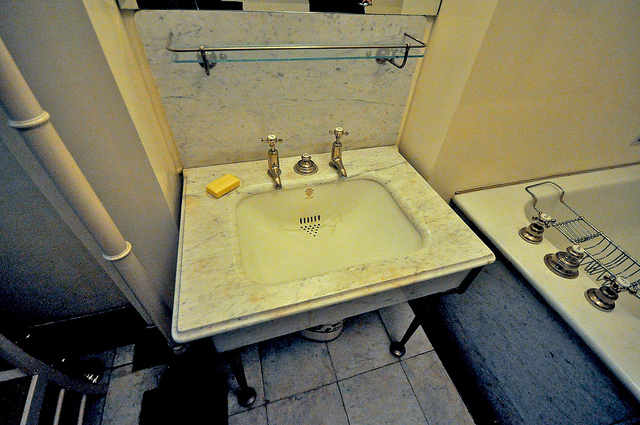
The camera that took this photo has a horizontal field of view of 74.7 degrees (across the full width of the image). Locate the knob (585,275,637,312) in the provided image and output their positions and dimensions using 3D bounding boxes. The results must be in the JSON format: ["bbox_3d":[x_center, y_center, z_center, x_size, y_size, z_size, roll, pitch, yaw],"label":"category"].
[{"bbox_3d":[1.148,0.321,1.663,0.130,0.134,0.125,-27,46,-17],"label":"knob"}]

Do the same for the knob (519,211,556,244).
[{"bbox_3d":[0.909,0.052,1.757,0.096,0.109,0.126,33,52,30],"label":"knob"}]

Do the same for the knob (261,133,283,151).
[{"bbox_3d":[-0.198,-0.282,1.705,0.061,0.077,0.046,-28,51,-26],"label":"knob"}]

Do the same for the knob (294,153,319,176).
[{"bbox_3d":[-0.060,-0.209,1.799,0.107,0.073,0.076,-2,44,-2],"label":"knob"}]
